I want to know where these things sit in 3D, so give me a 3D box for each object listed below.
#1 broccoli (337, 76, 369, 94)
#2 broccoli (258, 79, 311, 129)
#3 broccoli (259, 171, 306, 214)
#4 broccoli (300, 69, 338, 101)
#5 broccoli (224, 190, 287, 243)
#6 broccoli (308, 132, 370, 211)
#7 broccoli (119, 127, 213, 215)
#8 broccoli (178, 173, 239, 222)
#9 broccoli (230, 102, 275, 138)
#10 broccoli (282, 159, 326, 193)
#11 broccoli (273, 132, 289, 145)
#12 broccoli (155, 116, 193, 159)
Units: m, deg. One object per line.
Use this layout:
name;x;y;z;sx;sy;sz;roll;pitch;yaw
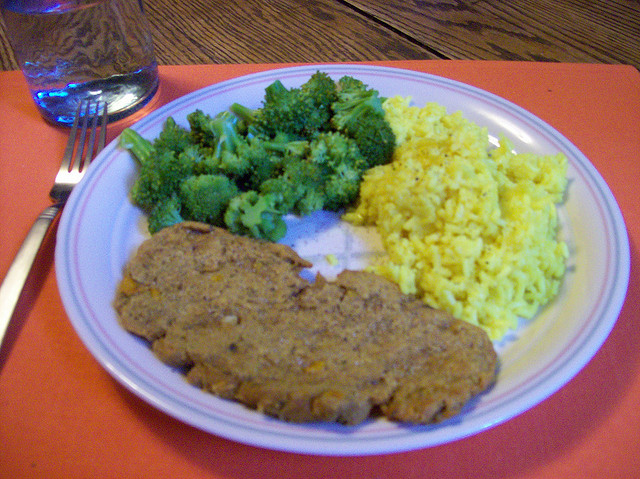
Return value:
broccoli;0.169;-0.822;3.154;0.125;0.037;0.135;0;80;3
broccoli;-0.184;-0.688;3.147;0.238;0.140;0.245;-34;69;-15
broccoli;-0.174;-0.261;2.917;0.192;0.101;0.203;-28;76;-23
broccoli;-0.004;-0.820;3.110;0.153;0.112;0.156;36;44;29
broccoli;-0.312;-0.105;2.853;0.237;0.122;0.256;7;51;-14
broccoli;0.093;-0.366;3.049;0.296;0.151;0.369;0;77;-12
broccoli;-0.817;-0.267;3.085;0.370;0.236;0.458;-38;64;-23
broccoli;-0.543;-0.227;2.883;0.226;0.141;0.237;35;50;26
broccoli;-0.366;-0.634;3.160;0.191;0.057;0.204;-32;79;18
broccoli;-0.071;-0.333;2.945;0.171;0.065;0.147;-3;71;-15
broccoli;-0.198;-0.521;3.054;0.062;0.019;0.067;17;84;-5
broccoli;-0.731;-0.526;3.063;0.186;0.110;0.164;7;87;22
